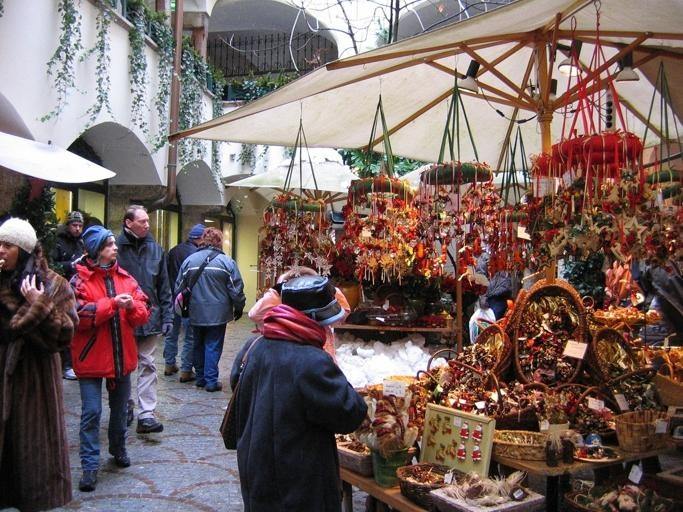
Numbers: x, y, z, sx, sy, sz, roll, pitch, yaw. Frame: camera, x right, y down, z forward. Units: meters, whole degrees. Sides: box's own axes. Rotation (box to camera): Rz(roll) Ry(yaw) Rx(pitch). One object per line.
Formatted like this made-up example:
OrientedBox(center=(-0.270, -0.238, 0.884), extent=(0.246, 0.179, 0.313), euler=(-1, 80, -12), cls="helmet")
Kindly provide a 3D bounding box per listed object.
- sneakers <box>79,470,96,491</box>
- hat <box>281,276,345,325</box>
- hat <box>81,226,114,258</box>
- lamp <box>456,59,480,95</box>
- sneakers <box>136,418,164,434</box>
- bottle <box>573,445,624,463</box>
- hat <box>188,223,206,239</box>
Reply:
OrientedBox(center=(-1.985, 1.751, 4.878), extent=(0.116, 0.143, 0.100), euler=(-2, 7, -34), cls="sneakers")
OrientedBox(center=(-0.165, 0.243, 3.613), extent=(0.321, 0.178, 0.253), euler=(6, 22, -2), cls="hat")
OrientedBox(center=(-2.061, -0.120, 5.209), extent=(0.294, 0.262, 0.147), euler=(5, 7, 25), cls="hat")
OrientedBox(center=(1.058, -1.494, 5.221), extent=(0.164, 0.278, 0.345), euler=(3, 6, 10), cls="lamp")
OrientedBox(center=(-1.845, 1.620, 5.973), extent=(0.280, 0.144, 0.112), euler=(-2, -5, 5), cls="sneakers")
OrientedBox(center=(1.664, 1.284, 4.075), extent=(0.349, 0.071, 0.125), euler=(1, 6, -13), cls="bottle")
OrientedBox(center=(-2.021, -0.343, 8.759), extent=(0.214, 0.247, 0.274), euler=(2, 2, -21), cls="hat")
